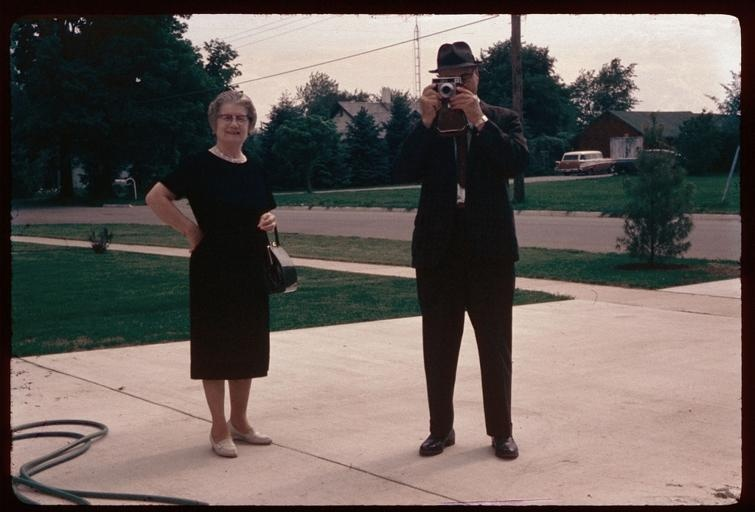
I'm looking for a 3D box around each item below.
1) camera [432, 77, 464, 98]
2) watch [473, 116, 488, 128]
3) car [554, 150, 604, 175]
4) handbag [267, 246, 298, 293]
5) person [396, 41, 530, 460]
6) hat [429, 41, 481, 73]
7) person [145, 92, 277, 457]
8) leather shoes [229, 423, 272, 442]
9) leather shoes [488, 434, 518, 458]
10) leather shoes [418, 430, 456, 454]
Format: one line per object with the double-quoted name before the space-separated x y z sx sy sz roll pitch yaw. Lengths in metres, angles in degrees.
"camera" 0.487 -1.179 5.139 0.202 0.154 0.165 0 11 4
"watch" 0.715 -0.938 5.111 0.097 0.091 0.064 -3 11 -8
"car" 14.173 -6.400 50.076 1.640 0.995 3.204 6 13 39
"handbag" -0.752 0.085 5.557 0.159 0.344 0.386 -13 6 -34
"person" 0.608 0.065 5.195 0.865 2.621 0.671 1 12 9
"hat" 0.536 -1.436 5.294 0.402 0.165 0.475 0 3 13
"person" -1.106 0.085 5.409 0.665 2.550 0.763 9 16 42
"leather shoes" -0.931 1.313 5.484 0.382 0.126 0.124 4 -2 9
"leather shoes" 0.896 1.348 5.168 0.096 0.090 0.232 -2 -2 -9
"leather shoes" 0.422 1.348 5.272 0.110 0.111 0.292 -8 -9 41
